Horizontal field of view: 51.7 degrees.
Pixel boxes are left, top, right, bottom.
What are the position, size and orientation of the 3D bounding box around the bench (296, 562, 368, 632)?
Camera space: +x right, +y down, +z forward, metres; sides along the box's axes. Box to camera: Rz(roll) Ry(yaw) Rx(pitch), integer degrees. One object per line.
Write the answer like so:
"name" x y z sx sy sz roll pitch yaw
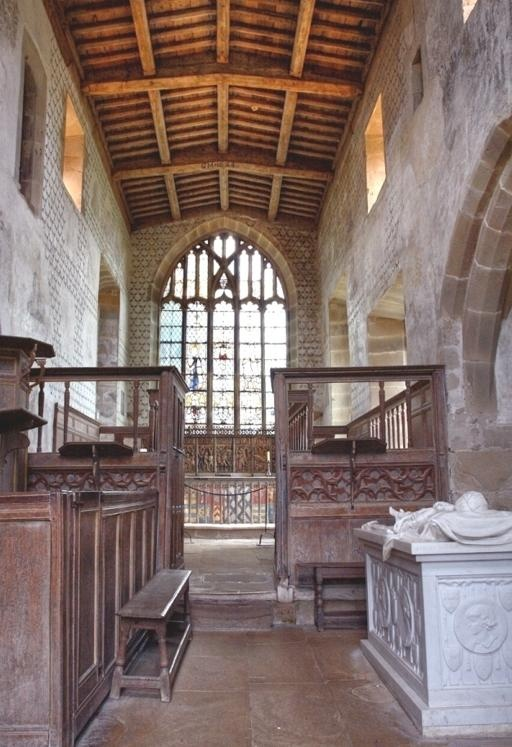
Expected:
"bench" 0.671 1.937 4.502 0.283 0.546 0.677 -3 -19 11
